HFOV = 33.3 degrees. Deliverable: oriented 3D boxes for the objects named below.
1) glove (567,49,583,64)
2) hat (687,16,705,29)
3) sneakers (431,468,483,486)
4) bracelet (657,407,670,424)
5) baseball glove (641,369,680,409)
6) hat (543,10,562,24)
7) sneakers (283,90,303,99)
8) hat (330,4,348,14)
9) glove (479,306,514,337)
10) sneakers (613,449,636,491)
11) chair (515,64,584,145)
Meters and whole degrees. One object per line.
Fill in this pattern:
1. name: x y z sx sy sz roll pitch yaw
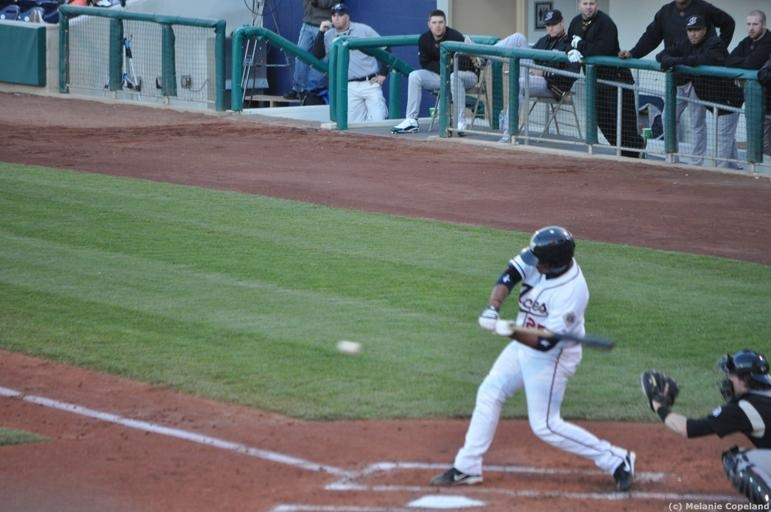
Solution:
1. glove: 3.010 -3.151 20.361 0.179 0.194 0.249 1 3 -34
2. hat: 4.696 -3.494 19.338 0.277 0.222 0.210 3 3 12
3. sneakers: 0.708 2.252 13.031 0.534 0.232 0.195 4 1 -4
4. bracelet: 2.713 1.569 12.635 0.128 0.132 0.136 -31 -20 37
5. baseball glove: 2.713 1.327 12.839 0.271 0.399 0.144 2 -15 -12
6. hat: 2.745 -3.856 20.934 0.258 0.273 0.365 3 3 4
7. sneakers: -1.973 -3.452 27.625 0.338 0.138 0.200 4 13 31
8. hat: -0.829 -4.469 23.341 0.248 0.235 0.565 2 3 -3
9. glove: 1.119 0.646 12.743 0.247 0.136 0.324 9 7 -44
10. sneakers: 2.421 2.162 12.995 0.194 0.448 0.167 -2 16 -16
11. chair: 2.772 -2.479 21.260 0.646 1.046 0.810 -8 -10 28
